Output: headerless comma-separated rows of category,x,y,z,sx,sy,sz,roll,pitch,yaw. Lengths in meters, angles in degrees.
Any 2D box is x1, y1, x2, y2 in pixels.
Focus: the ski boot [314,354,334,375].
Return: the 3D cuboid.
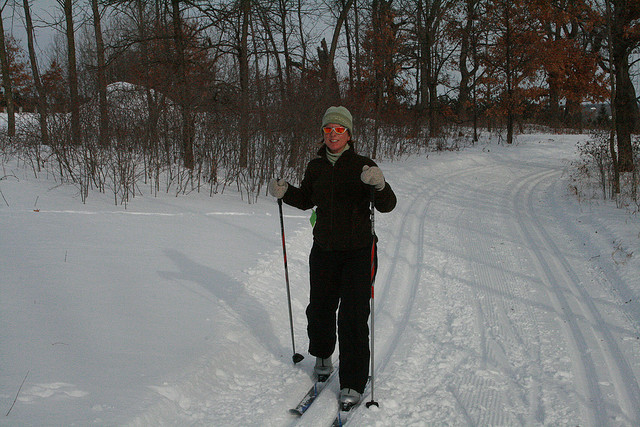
ski boot,0.072,2.870,11.965,0.209,0.443,0.395,-1,-26,4
